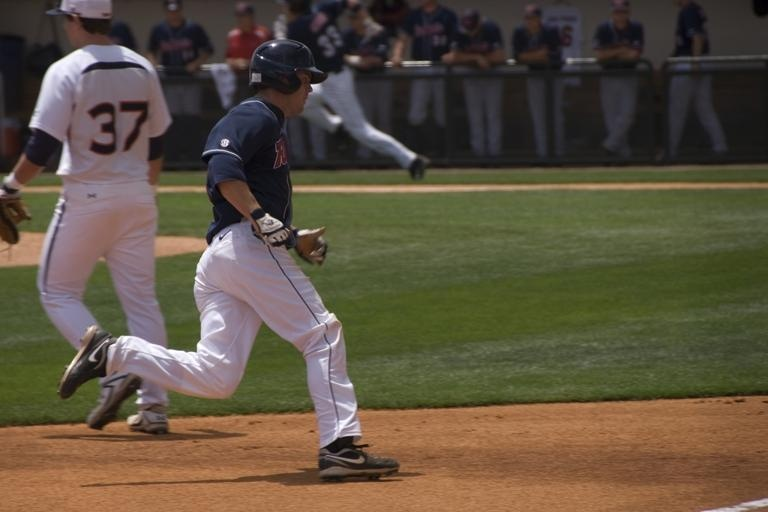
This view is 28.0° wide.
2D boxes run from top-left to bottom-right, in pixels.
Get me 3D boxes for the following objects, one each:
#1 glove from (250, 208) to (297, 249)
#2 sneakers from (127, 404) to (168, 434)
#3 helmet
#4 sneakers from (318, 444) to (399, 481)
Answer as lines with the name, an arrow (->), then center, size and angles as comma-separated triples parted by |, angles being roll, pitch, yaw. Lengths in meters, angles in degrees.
glove -> -0.665, -0.160, 9.054 | 0.299, 0.110, 0.200 | 16, 29, -37
sneakers -> -1.442, 1.060, 9.874 | 0.370, 0.143, 0.135 | 4, -3, 37
helmet -> -0.628, -1.133, 9.228 | 0.524, 0.223, 0.283 | -4, 9, -13
sneakers -> -0.254, 1.242, 9.212 | 0.618, 0.213, 0.177 | -1, -1, -9
